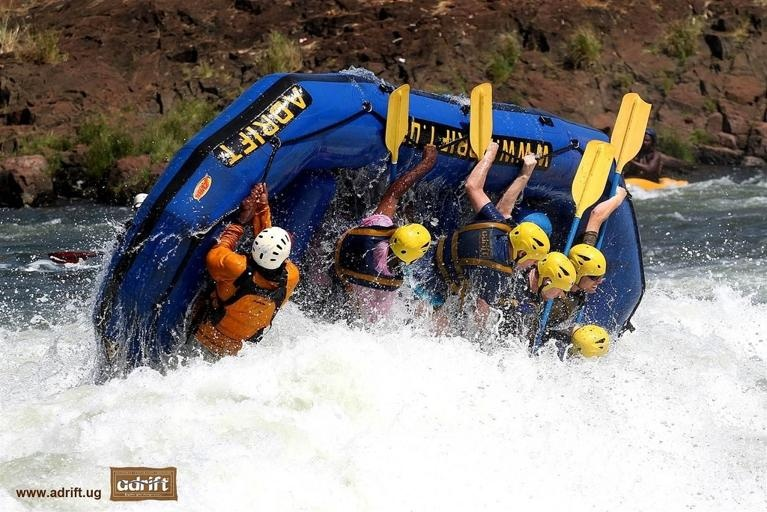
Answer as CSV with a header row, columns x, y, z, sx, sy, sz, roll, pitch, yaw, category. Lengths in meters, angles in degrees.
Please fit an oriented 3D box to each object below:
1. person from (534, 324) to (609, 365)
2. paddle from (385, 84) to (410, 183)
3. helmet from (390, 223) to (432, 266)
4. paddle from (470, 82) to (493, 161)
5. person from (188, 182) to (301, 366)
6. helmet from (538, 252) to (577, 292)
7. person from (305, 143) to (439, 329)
x,y,z,sx,sy,sz,roll,pitch,yaw,category
2.712,1.180,12.715,0.714,0.305,0.516,6,11,19,person
0.166,-1.655,11.595,0.271,1.003,0.149,2,9,-19,paddle
0.362,-0.179,11.509,0.579,0.461,0.412,9,44,22,helmet
1.272,-1.755,12.017,0.277,0.980,0.230,4,-7,-12,paddle
-1.756,0.303,11.051,1.133,1.817,0.617,0,26,-12,person
2.248,0.196,11.860,0.530,0.475,0.404,21,8,29,helmet
-0.227,-0.288,11.762,0.678,2.086,1.275,2,55,-41,person
